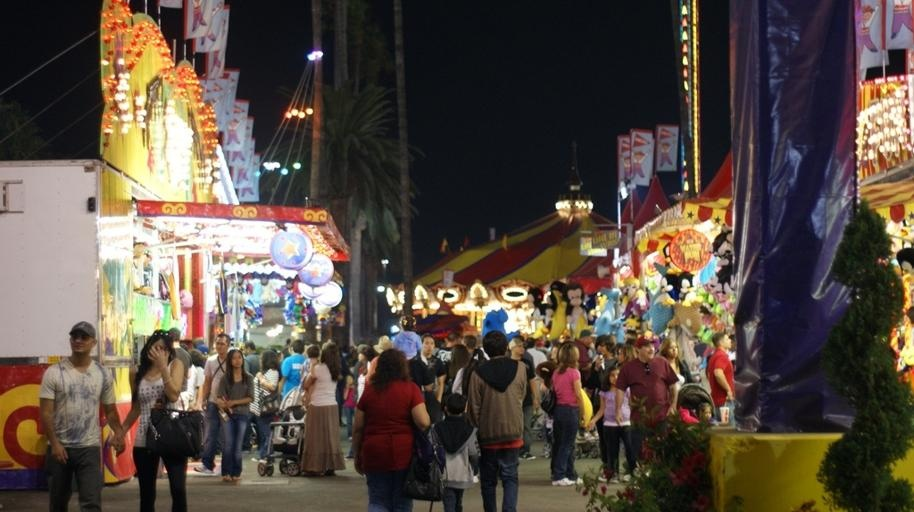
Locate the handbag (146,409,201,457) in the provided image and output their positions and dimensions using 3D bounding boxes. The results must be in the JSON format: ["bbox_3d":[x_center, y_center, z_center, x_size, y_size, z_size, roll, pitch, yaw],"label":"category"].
[{"bbox_3d":[-4.330,2.635,20.831,0.827,0.744,0.249,2,-10,-20],"label":"handbag"}]

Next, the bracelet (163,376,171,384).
[{"bbox_3d":[-4.480,1.857,20.878,0.155,0.126,0.066,-5,-10,18],"label":"bracelet"}]

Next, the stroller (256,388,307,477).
[{"bbox_3d":[-3.396,3.331,26.433,1.063,1.679,0.967,1,-7,-17],"label":"stroller"}]

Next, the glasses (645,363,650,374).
[{"bbox_3d":[3.265,1.891,23.434,0.095,0.158,0.048,-3,-9,7],"label":"glasses"}]
